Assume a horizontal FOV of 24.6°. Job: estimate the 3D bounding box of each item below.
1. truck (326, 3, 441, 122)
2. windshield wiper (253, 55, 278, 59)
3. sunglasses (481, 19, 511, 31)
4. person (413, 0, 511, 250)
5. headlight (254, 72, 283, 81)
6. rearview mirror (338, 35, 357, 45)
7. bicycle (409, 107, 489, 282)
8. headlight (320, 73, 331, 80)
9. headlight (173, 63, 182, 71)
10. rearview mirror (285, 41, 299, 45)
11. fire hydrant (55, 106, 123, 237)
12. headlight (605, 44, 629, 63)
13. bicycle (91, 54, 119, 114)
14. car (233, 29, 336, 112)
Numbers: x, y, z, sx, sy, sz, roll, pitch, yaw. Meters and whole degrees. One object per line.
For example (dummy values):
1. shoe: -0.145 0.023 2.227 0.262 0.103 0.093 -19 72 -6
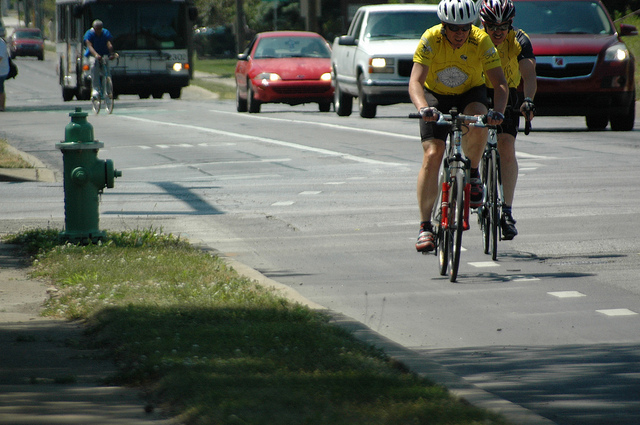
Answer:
1. truck: 1.305 -3.279 30.243 1.708 1.258 3.061 -1 6 -12
2. windshield wiper: -1.226 -3.482 32.767 0.464 0.067 0.032 -4 -28 6
3. sunglasses: 1.985 -2.127 16.647 0.323 0.125 0.135 -1 13 5
4. person: 1.543 -0.933 16.214 1.098 2.892 1.343 -1 12 4
5. headlight: -1.107 -2.949 31.682 0.731 0.166 0.153 10 17 41
6. rearview mirror: 0.573 -3.558 30.261 0.309 0.202 0.225 1 9 3
7. bicycle: 1.446 -0.243 15.977 0.701 1.832 0.916 -2 13 4
8. headlight: 0.111 -2.965 31.915 0.170 0.161 0.040 -3 5 -21
9. headlight: -3.746 -3.856 38.788 0.236 0.207 0.045 -5 13 -12
10. rearview mirror: -0.618 -3.862 33.323 0.379 0.093 0.066 -2 34 1
11. fire hydrant: -2.634 -0.476 16.744 0.666 1.464 0.521 -4 13 -9
12. headlight: 5.211 -2.795 25.780 0.273 0.282 0.585 8 16 38
13. bicycle: -4.688 -2.732 31.761 0.401 1.462 2.075 -4 13 -9
14. car: -0.780 -3.012 32.708 1.966 1.721 2.499 -4 13 -9
